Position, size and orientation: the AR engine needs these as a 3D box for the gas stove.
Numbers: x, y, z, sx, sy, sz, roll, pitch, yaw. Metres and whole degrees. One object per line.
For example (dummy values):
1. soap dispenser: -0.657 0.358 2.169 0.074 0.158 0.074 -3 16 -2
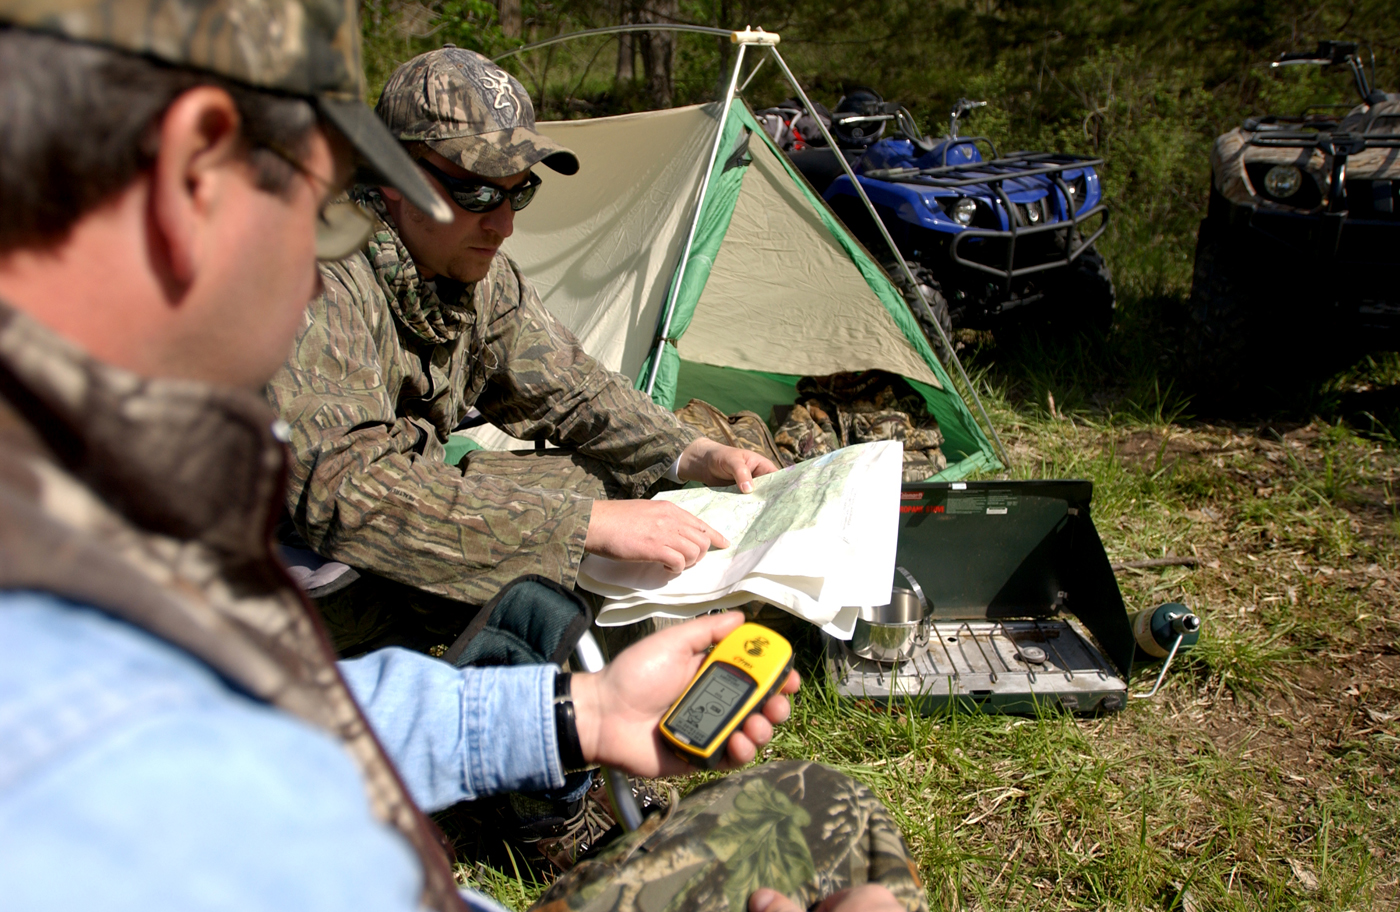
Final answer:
1. gas stove: 0.810 0.565 3.340 1.131 0.195 0.415 -3 -5 4

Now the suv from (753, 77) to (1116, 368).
1. suv: 1.310 -1.214 6.039 1.262 1.501 2.041 -10 18 -37

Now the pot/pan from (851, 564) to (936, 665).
1. pot/pan: 0.527 0.419 3.076 0.205 0.238 0.177 2 -3 4

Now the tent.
1. tent: 0.579 -0.934 5.134 2.006 1.616 2.877 -8 17 -31

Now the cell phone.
1. cell phone: 0.046 0.393 1.944 0.144 0.059 0.259 27 60 29
